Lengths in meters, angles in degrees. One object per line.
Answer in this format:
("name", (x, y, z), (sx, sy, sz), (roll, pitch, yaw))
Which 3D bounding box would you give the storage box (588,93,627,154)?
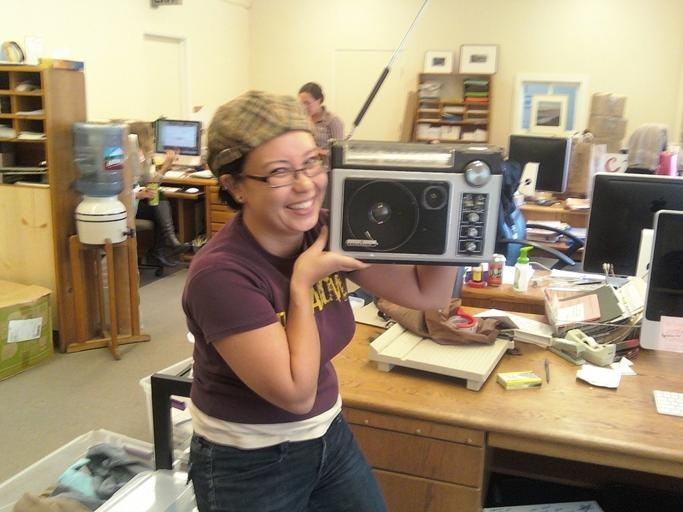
("storage box", (3.713, -1.869, 7.140), (0.505, 0.780, 0.509), (6, 18, 23))

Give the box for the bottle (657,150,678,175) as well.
("bottle", (2.198, -0.620, 3.447), (0.106, 0.149, 0.236), (8, 18, 30))

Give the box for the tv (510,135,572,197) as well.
("tv", (1.677, -0.778, 4.348), (0.635, 0.570, 0.337), (7, 15, 29))

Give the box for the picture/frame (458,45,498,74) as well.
("picture/frame", (2.017, -2.879, 7.501), (0.487, 0.366, 0.063), (3, 6, 10))

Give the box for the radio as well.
("radio", (0.148, -0.114, 1.332), (0.433, 0.270, 0.262), (2, 4, -13))

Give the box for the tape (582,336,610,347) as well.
("tape", (0.934, 0.313, 1.901), (0.031, 0.035, 0.100), (-15, 17, -31))

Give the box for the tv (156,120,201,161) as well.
("tv", (-1.890, -1.357, 5.967), (0.676, 0.433, 0.346), (3, 12, 7))

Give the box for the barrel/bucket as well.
("barrel/bucket", (-1.613, -0.633, 3.415), (0.326, 0.472, 0.133), (-1, 17, 0))

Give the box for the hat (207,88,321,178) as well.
("hat", (-0.184, -0.284, 1.197), (0.211, 0.133, 0.202), (-20, 18, 19))

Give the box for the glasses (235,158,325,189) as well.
("glasses", (-0.132, -0.186, 1.146), (0.187, 0.058, 0.057), (-4, 16, -11))

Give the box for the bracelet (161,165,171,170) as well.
("bracelet", (-1.725, -0.871, 5.041), (0.044, 0.055, 0.401), (-5, 16, -13))

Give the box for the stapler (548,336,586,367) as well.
("stapler", (0.828, 0.348, 1.905), (0.046, 0.058, 0.151), (-9, 24, -18))

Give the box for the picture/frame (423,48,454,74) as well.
("picture/frame", (1.461, -2.894, 7.640), (0.454, 0.356, 0.057), (4, 1, 10))
